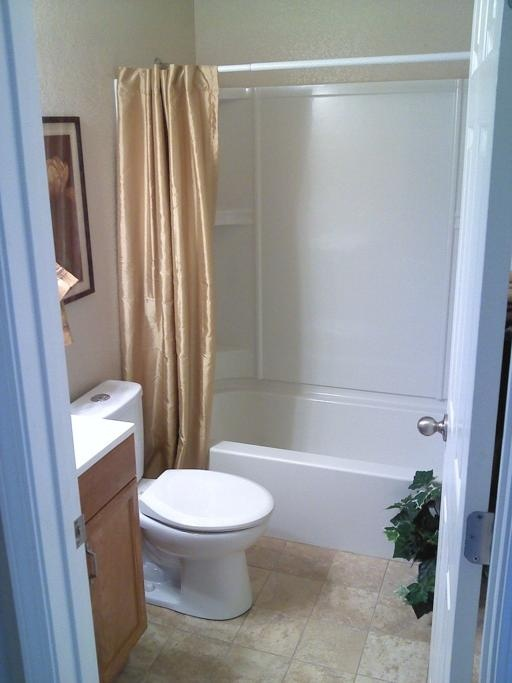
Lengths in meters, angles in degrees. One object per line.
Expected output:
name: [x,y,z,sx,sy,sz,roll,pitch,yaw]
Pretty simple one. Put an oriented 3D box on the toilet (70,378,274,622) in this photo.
toilet: [-0.287,0.559,1.870,0.553,0.786,0.397,1,22,7]
